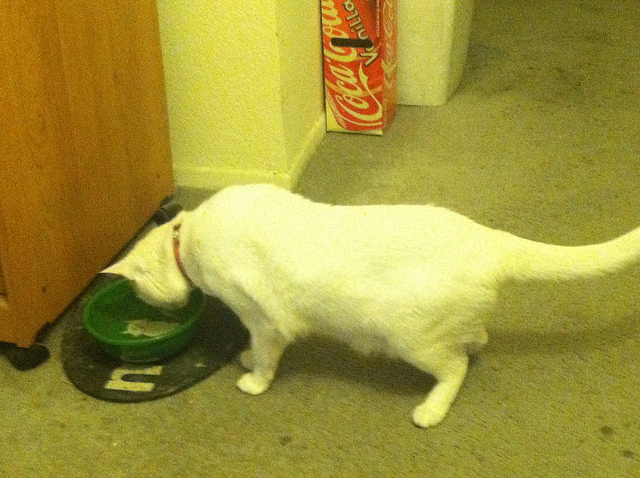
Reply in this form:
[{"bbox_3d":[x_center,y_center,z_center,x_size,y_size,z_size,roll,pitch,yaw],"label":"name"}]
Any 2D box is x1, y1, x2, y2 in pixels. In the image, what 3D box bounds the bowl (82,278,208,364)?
[{"bbox_3d":[-0.599,0.321,2.094,0.346,0.135,0.350,-1,12,0],"label":"bowl"}]
